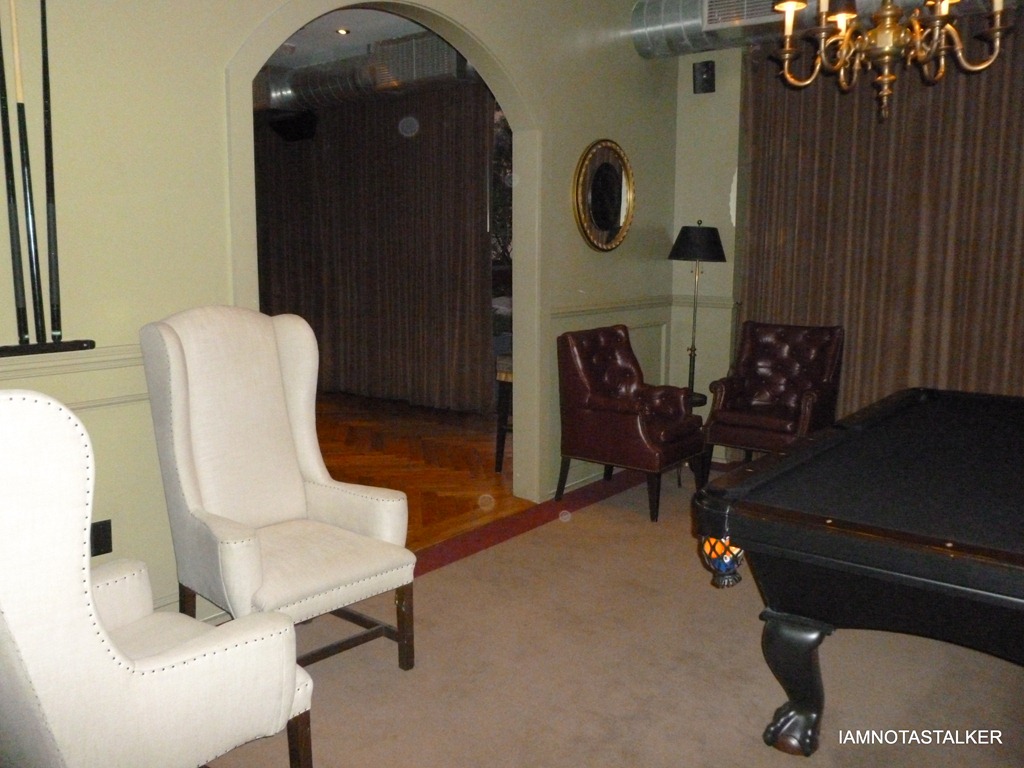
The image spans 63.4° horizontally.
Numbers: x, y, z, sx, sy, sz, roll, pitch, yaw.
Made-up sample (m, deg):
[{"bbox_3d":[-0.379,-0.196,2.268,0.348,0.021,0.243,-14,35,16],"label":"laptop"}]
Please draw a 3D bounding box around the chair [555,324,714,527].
[{"bbox_3d":[0.791,0.223,5.632,0.935,1.153,0.779,9,15,36],"label":"chair"}]

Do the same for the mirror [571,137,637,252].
[{"bbox_3d":[0.635,-1.358,5.901,0.085,0.939,0.882,3,2,31],"label":"mirror"}]

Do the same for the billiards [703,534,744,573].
[{"bbox_3d":[0.680,0.537,2.681,0.115,0.113,0.107,0,3,33],"label":"billiards"}]
